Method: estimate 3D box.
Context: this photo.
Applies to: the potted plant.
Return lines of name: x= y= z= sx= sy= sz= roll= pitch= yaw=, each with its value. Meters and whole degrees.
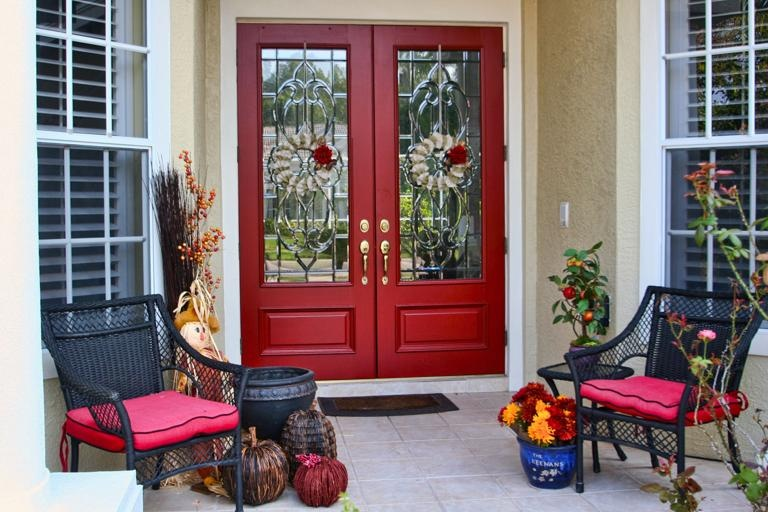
potted plant: x=1.362 y=0.305 z=4.338 sx=0.349 sy=0.818 sz=0.350 roll=1 pitch=5 yaw=20

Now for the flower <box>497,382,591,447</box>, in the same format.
flower: x=0.923 y=0.879 z=3.677 sx=0.452 sy=0.338 sz=0.447 roll=2 pitch=2 yaw=1

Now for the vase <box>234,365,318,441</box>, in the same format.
vase: x=-0.640 y=0.870 z=3.905 sx=0.446 sy=0.356 sz=0.464 roll=0 pitch=-7 yaw=1

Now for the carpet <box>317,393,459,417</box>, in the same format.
carpet: x=0.028 y=1.158 z=4.906 sx=1.067 sy=0.023 sz=0.434 roll=-1 pitch=8 yaw=-8

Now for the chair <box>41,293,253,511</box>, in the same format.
chair: x=-1.264 y=0.676 z=3.482 sx=0.864 sy=1.311 sz=0.908 roll=-1 pitch=0 yaw=38

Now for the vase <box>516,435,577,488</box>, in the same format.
vase: x=0.942 y=1.199 z=3.792 sx=0.395 sy=0.274 sz=0.392 roll=6 pitch=4 yaw=11
